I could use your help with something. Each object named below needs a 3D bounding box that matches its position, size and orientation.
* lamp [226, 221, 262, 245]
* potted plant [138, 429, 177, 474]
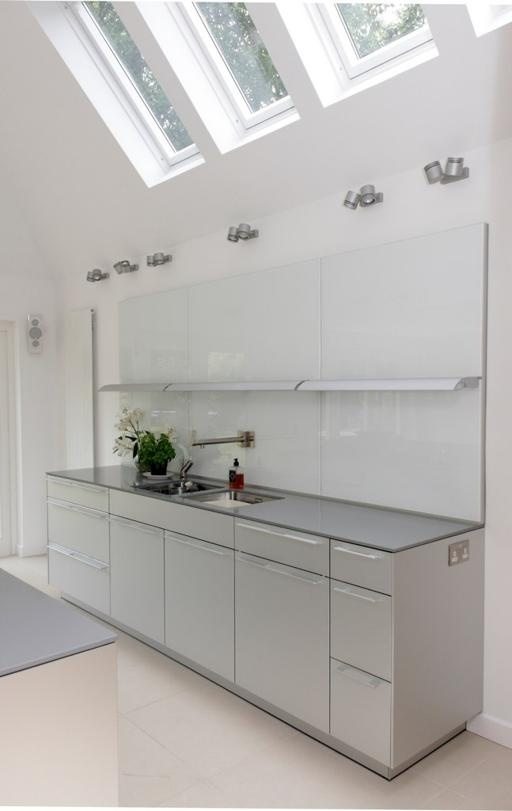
[{"bbox_3d":[-0.078,-0.982,3.383,0.108,0.062,0.145,-3,-4,39],"label":"lamp"},{"bbox_3d":[-0.680,0.300,3.865,0.248,0.297,0.249,2,-2,-41],"label":"potted plant"}]
